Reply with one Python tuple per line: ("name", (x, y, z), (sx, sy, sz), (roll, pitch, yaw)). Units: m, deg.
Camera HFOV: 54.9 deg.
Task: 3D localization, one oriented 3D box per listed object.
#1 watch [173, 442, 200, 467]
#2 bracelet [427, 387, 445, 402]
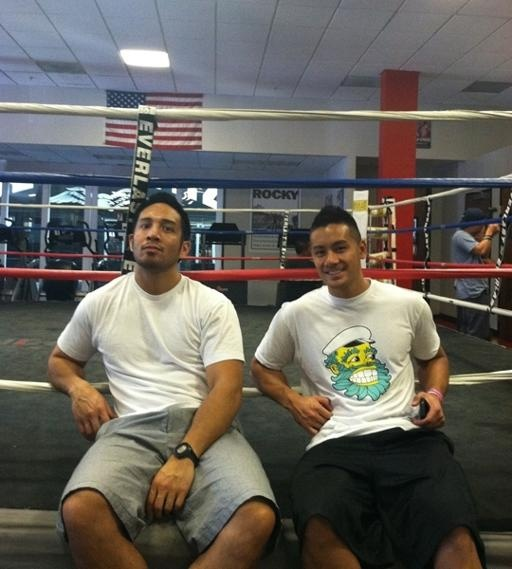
("watch", (-0.158, 0.387, 1.124), (0.031, 0.045, 0.050), (-51, 23, -22))
("bracelet", (0.464, 0.284, 1.281), (0.041, 0.024, 0.036), (1, -1, -4))
